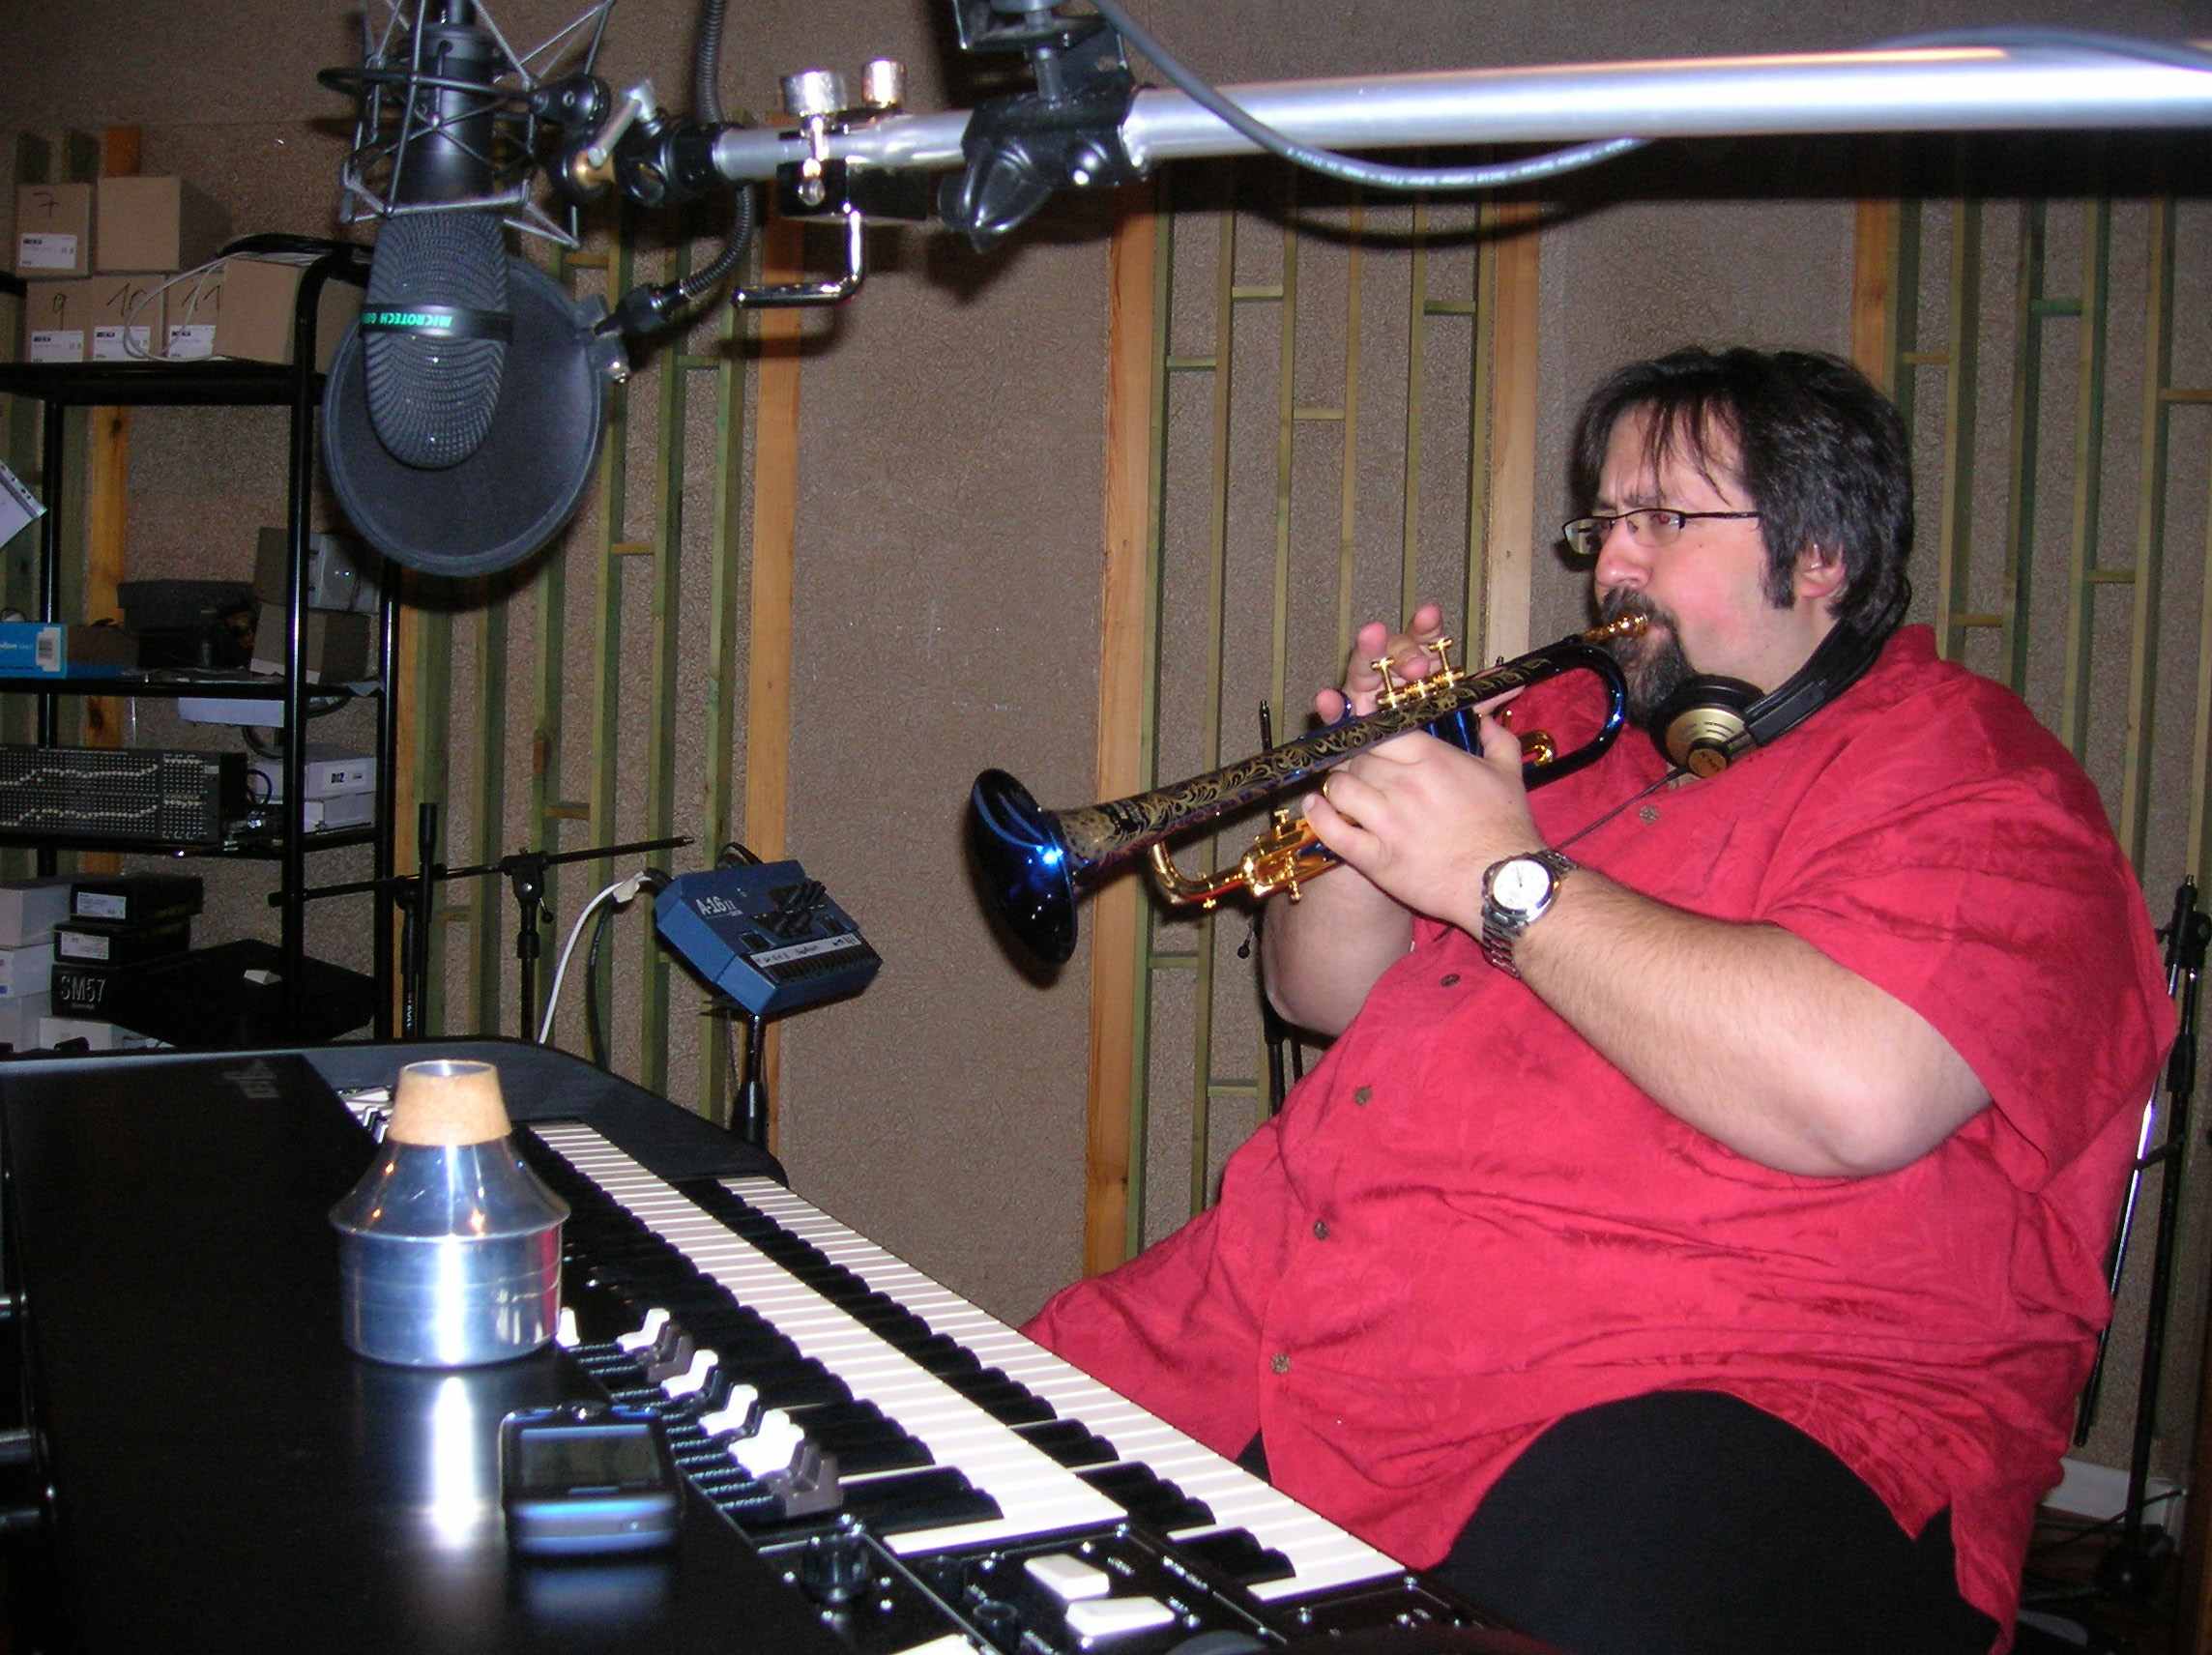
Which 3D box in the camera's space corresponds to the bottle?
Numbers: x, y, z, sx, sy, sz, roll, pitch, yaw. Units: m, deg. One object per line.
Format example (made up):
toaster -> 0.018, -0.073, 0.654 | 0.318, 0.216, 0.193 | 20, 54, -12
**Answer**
bottle -> -0.601, 0.341, 2.128 | 0.195, 0.267, 0.203 | 3, 6, 0
